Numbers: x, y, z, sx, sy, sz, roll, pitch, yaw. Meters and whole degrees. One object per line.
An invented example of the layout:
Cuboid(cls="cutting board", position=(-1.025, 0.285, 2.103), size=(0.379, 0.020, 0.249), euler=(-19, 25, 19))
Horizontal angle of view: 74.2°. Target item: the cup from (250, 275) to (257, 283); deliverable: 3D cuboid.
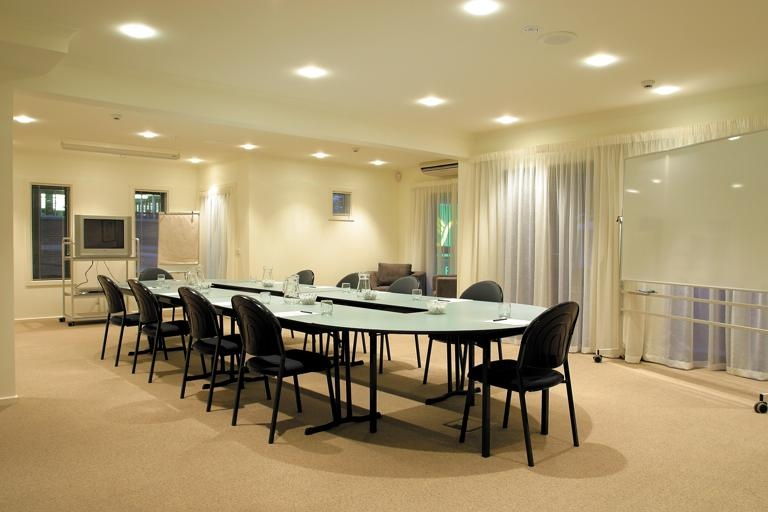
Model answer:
Cuboid(cls="cup", position=(-1.939, 0.346, 7.505), size=(0.070, 0.067, 0.070), euler=(0, -10, 0))

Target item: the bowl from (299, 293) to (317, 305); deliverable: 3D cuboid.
Cuboid(cls="bowl", position=(-0.746, 0.424, 4.987), size=(0.110, 0.075, 0.130), euler=(3, -7, -42))

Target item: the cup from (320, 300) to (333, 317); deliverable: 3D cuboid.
Cuboid(cls="cup", position=(-0.492, 0.443, 4.339), size=(0.121, 0.119, 0.119), euler=(-1, -4, 0))

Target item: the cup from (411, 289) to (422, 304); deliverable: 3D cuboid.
Cuboid(cls="cup", position=(0.340, 0.416, 5.241), size=(0.124, 0.142, 0.125), euler=(-1, -4, 0))

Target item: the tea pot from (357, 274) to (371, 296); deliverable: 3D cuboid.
Cuboid(cls="tea pot", position=(-0.254, 0.321, 5.547), size=(0.231, 0.276, 0.223), euler=(-1, 1, 0))

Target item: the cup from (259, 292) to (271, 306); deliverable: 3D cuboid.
Cuboid(cls="cup", position=(-1.249, 0.449, 5.318), size=(0.150, 0.167, 0.145), euler=(0, -6, 0))
